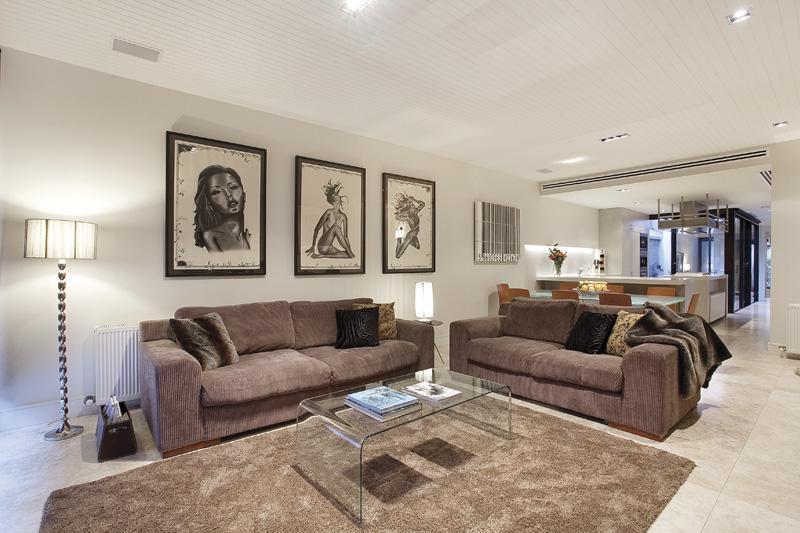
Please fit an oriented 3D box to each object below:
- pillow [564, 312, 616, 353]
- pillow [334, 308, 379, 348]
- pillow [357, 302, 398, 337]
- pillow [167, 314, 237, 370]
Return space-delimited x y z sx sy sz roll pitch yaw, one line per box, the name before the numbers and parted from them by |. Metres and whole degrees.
pillow | 2.182 0.750 5.723 0.146 0.453 0.485 30 -9 -17
pillow | -0.527 0.760 6.080 0.425 0.409 0.157 0 -38 -1
pillow | -0.295 0.669 6.226 0.370 0.368 0.131 9 -25 -39
pillow | -2.019 0.781 5.271 0.653 0.600 0.430 -3 1 -33
